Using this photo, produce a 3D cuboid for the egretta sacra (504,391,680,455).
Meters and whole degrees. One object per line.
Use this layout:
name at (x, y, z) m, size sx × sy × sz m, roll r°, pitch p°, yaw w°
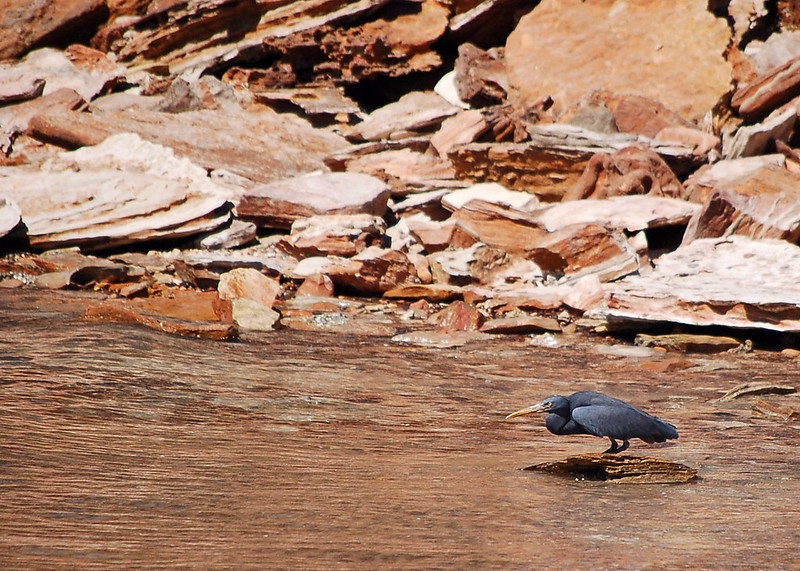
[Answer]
egretta sacra at (2.119, 1.501, 17.141) m, size 1.899 × 0.553 × 0.440 m, roll 1°, pitch -4°, yaw -11°
